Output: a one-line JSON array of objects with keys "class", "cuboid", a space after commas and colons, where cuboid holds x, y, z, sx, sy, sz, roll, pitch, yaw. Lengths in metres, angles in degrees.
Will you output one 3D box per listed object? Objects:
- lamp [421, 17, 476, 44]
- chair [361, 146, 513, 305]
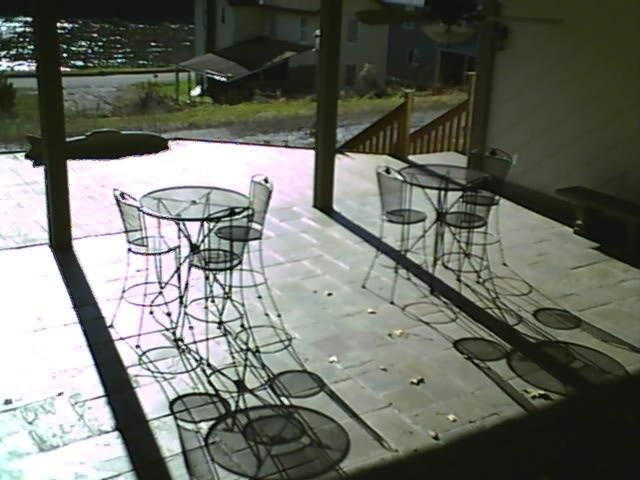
[{"class": "lamp", "cuboid": [1.252, -2.009, 5.076, 0.352, 0.093, 0.316, -11, 32, -16]}, {"class": "chair", "cuboid": [1.199, -0.282, 5.152, 1.188, 1.139, 0.890, 7, 27, 14]}]
